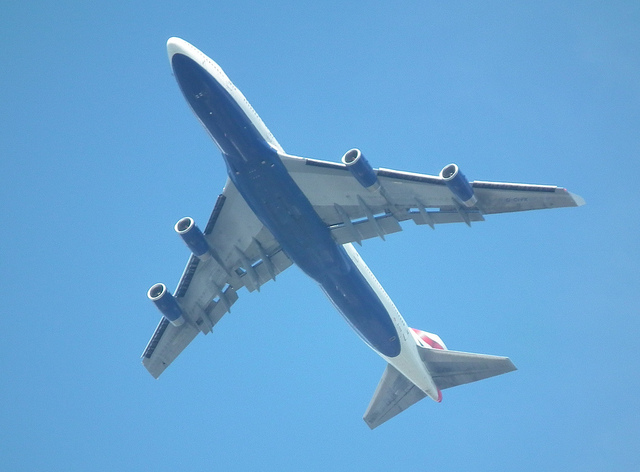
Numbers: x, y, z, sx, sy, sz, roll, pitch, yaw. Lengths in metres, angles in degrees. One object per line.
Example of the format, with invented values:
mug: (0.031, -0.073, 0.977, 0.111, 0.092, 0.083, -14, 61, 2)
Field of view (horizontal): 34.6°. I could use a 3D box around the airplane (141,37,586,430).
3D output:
airplane: (0.889, 0.892, 49.536, 18.073, 5.051, 19.100, -25, -63, 27)
